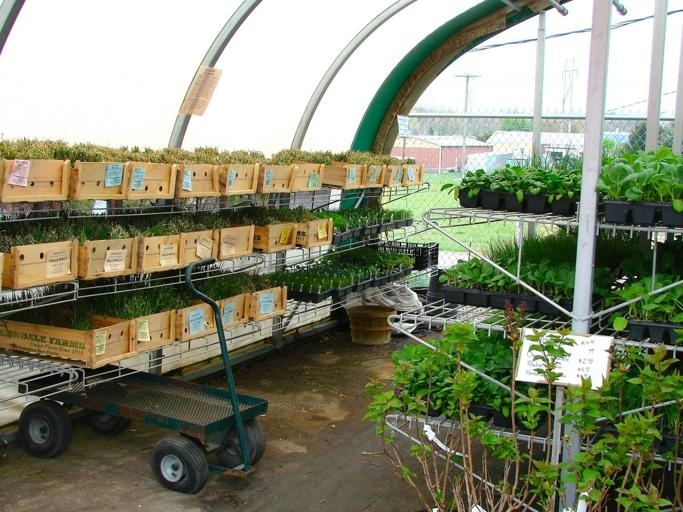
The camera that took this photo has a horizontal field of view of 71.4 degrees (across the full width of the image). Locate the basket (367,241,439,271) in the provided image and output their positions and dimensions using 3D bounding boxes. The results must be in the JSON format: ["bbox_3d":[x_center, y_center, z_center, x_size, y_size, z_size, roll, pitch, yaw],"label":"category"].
[{"bbox_3d":[0.989,-0.023,6.863,0.764,0.230,0.489,2,6,29],"label":"basket"}]
